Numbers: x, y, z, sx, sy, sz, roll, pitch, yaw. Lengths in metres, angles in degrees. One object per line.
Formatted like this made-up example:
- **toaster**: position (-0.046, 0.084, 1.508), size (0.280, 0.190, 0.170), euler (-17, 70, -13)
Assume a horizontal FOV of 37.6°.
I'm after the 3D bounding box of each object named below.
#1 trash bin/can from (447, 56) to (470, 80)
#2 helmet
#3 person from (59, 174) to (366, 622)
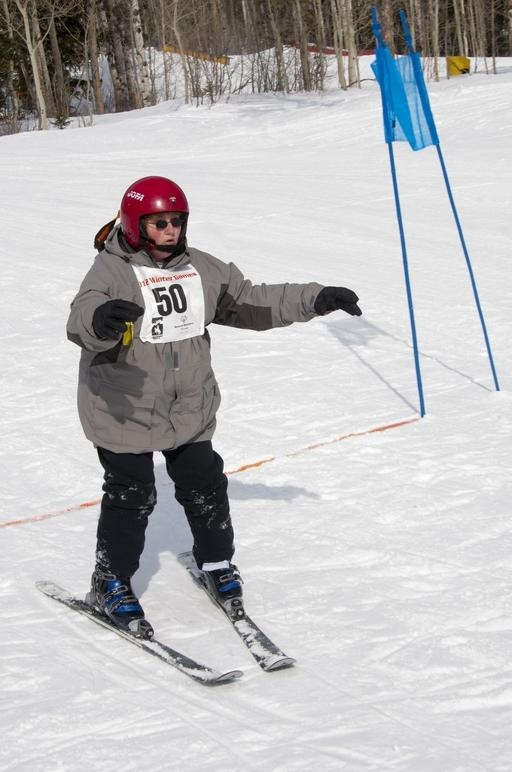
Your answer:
- **trash bin/can**: position (6.123, -9.631, 22.693), size (0.514, 0.705, 1.169), euler (3, 12, 20)
- **helmet**: position (-0.309, -0.526, 2.305), size (0.212, 0.234, 0.180), euler (-8, 13, -27)
- **person**: position (-0.206, 0.075, 2.410), size (0.768, 1.452, 0.572), euler (-8, 13, -26)
